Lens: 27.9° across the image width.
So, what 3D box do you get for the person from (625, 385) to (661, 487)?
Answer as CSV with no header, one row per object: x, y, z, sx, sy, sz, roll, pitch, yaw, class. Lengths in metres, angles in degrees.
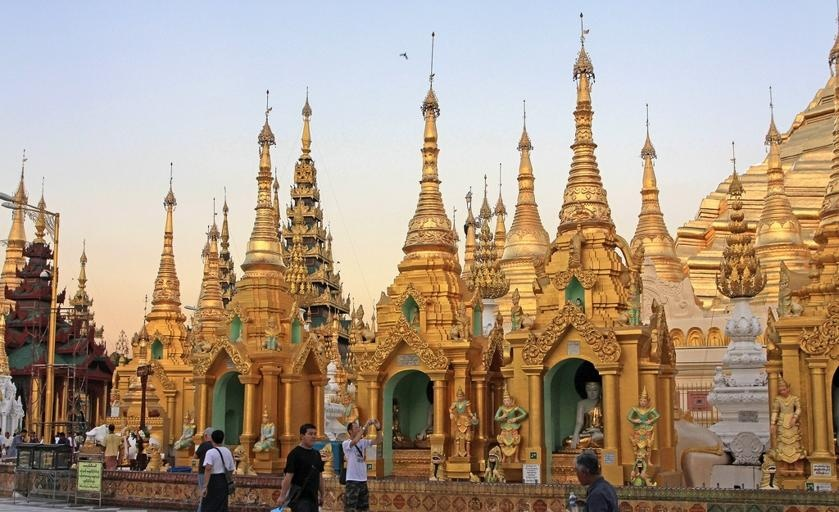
6.883,5.449,51.749,0.884,3.064,0.796,2,-16,-6,person

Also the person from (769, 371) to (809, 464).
11.050,4.912,50.431,0.998,2.319,0.874,1,0,10,person

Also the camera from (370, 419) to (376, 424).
-1.307,4.755,49.063,0.101,0.116,0.127,-2,-7,4,camera

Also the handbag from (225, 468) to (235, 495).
-5.425,6.425,48.601,0.239,0.654,0.588,1,-15,-4,handbag
